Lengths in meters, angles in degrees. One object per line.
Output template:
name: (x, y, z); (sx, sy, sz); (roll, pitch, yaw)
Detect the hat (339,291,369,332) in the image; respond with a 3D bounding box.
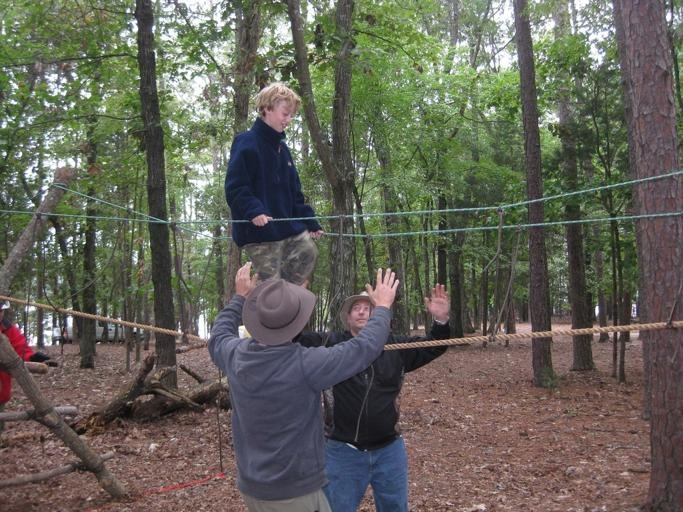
hat: (0.102, 0.683, 8.829); (0.373, 0.447, 0.124); (2, 9, -12)

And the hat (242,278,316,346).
hat: (-0.699, 0.524, 7.752); (0.776, 0.335, 0.865); (9, 48, 16)

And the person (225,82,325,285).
person: (-0.902, -0.917, 9.287); (1.230, 2.646, 0.718); (-7, 14, -29)
